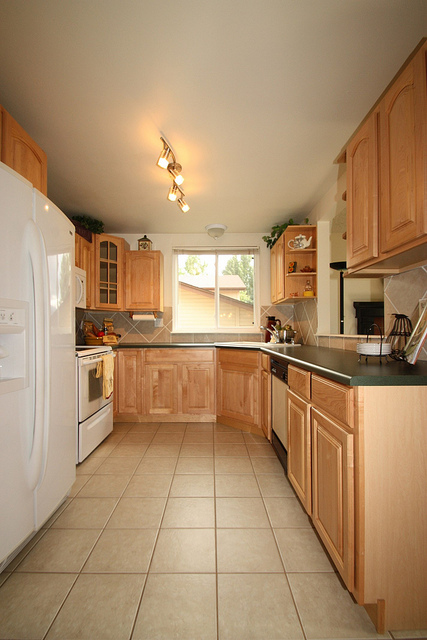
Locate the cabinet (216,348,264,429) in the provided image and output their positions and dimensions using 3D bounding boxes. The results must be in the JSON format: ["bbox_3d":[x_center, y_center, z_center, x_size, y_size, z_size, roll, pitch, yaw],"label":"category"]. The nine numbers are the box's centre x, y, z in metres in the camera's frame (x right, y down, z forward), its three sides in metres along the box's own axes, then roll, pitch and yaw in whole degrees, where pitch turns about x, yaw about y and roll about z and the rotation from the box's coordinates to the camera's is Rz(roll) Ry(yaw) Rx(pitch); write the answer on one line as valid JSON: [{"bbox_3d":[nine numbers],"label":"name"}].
[{"bbox_3d":[0.279,0.535,4.121,0.465,0.703,0.438,6,15,23],"label":"cabinet"}]

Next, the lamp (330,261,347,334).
[{"bbox_3d":[1.043,-0.196,3.602,0.103,0.587,0.290,0,4,5],"label":"lamp"}]

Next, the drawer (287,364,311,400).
[{"bbox_3d":[0.452,0.318,2.259,0.087,0.096,0.148,1,-1,-3],"label":"drawer"}]

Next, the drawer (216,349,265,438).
[{"bbox_3d":[0.186,0.683,4.114,0.525,0.717,0.504,14,-29,-21],"label":"drawer"}]

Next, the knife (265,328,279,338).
[{"bbox_3d":[0.631,0.134,4.707,0.120,0.014,0.013,40,-2,14],"label":"knife"}]

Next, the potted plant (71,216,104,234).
[{"bbox_3d":[-1.210,-0.950,4.281,0.176,0.088,0.178,5,-2,-27],"label":"potted plant"}]
